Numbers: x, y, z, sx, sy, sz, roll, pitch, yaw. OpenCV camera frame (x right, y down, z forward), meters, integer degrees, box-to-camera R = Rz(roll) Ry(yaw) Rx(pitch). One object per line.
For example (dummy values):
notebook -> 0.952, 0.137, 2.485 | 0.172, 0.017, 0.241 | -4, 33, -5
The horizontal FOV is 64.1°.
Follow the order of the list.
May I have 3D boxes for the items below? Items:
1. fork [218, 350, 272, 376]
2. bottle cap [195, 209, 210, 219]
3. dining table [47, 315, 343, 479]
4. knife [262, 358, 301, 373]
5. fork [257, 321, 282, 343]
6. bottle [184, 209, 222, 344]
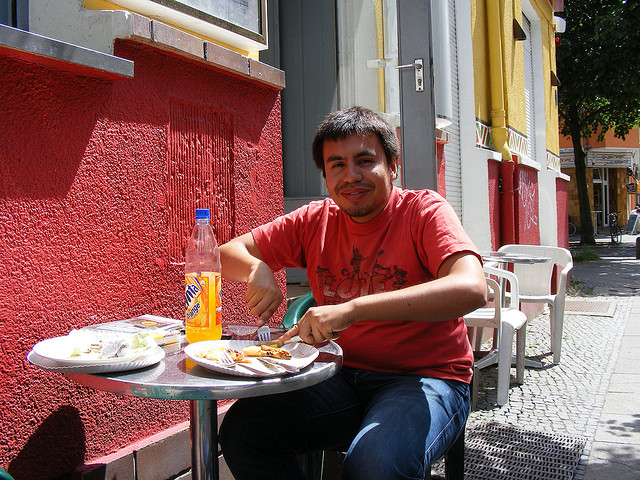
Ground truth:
fork -> -0.265, 0.431, 1.785 | 0.028, 0.031, 0.192 | -11, 16, -44
bottle cap -> -0.524, -0.115, 2.252 | 0.052, 0.036, 0.054 | 2, 3, -3
dining table -> -0.470, 0.627, 2.105 | 1.110, 0.636, 0.913 | 0, 4, 2
knife -> -0.140, 0.436, 1.782 | 0.118, 0.006, 0.017 | 12, -25, 40
fork -> -0.224, 0.409, 2.248 | 0.062, 0.109, 0.081 | 0, -16, -10
bottle -> -0.502, 0.187, 2.203 | 0.186, 0.623, 0.201 | 3, 7, 0
